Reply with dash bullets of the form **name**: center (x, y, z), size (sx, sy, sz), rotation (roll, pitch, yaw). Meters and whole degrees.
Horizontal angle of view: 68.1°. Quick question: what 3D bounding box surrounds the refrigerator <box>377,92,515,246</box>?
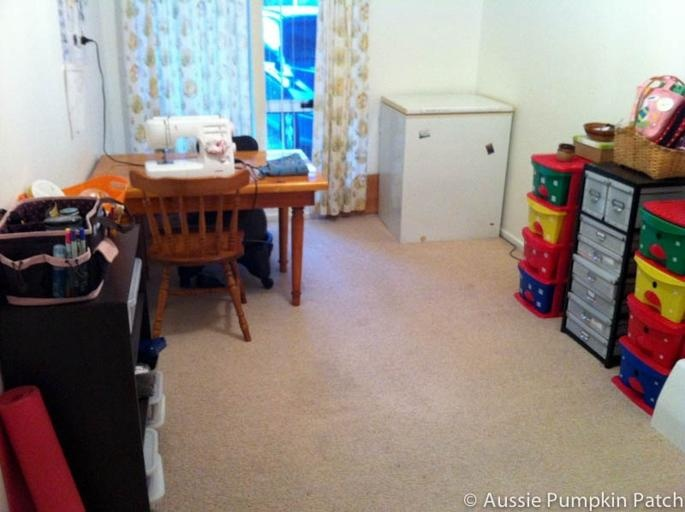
- **refrigerator**: center (0.751, -0.811, 4.554), size (1.267, 1.552, 1.091), rotation (-3, 28, -6)

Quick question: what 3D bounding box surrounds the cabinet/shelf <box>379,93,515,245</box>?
- **cabinet/shelf**: center (0.836, -0.783, 4.450), size (0.955, 1.099, 0.865), rotation (3, 23, -1)

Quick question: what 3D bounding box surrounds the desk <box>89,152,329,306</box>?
- **desk**: center (-0.799, -0.132, 3.290), size (1.169, 0.786, 0.797), rotation (-5, 19, -21)

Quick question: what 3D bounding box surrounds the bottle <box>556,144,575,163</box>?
- **bottle**: center (1.335, -0.634, 3.066), size (0.104, 0.107, 0.109), rotation (2, 27, 5)

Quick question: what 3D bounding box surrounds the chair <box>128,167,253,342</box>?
- **chair**: center (-0.861, -0.010, 2.913), size (0.692, 1.080, 0.761), rotation (-1, 34, -11)

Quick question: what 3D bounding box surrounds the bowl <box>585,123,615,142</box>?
- **bowl**: center (1.516, -0.737, 2.999), size (0.143, 0.051, 0.148), rotation (0, 29, 0)
